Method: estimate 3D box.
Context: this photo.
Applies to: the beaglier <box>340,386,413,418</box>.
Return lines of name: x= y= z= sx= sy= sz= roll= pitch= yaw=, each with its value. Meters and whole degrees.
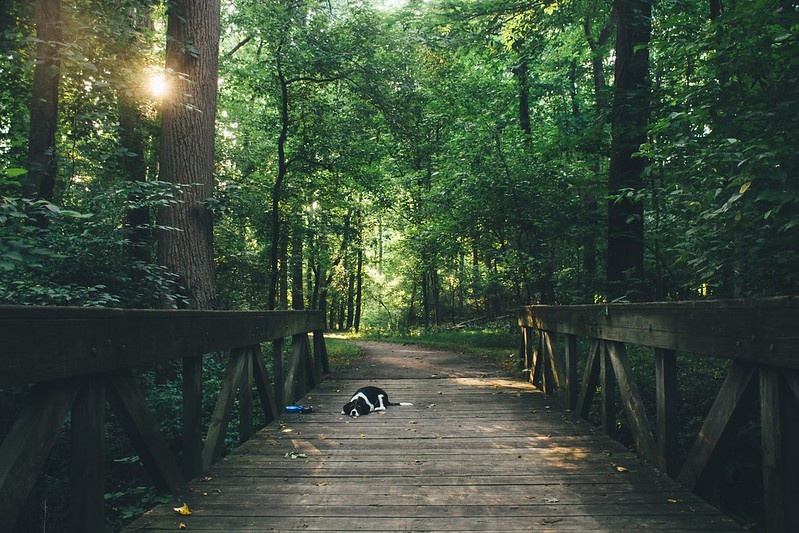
beaglier: x=-0.430 y=1.981 z=13.110 sx=0.920 sy=0.369 sz=0.412 roll=-1 pitch=0 yaw=-38
